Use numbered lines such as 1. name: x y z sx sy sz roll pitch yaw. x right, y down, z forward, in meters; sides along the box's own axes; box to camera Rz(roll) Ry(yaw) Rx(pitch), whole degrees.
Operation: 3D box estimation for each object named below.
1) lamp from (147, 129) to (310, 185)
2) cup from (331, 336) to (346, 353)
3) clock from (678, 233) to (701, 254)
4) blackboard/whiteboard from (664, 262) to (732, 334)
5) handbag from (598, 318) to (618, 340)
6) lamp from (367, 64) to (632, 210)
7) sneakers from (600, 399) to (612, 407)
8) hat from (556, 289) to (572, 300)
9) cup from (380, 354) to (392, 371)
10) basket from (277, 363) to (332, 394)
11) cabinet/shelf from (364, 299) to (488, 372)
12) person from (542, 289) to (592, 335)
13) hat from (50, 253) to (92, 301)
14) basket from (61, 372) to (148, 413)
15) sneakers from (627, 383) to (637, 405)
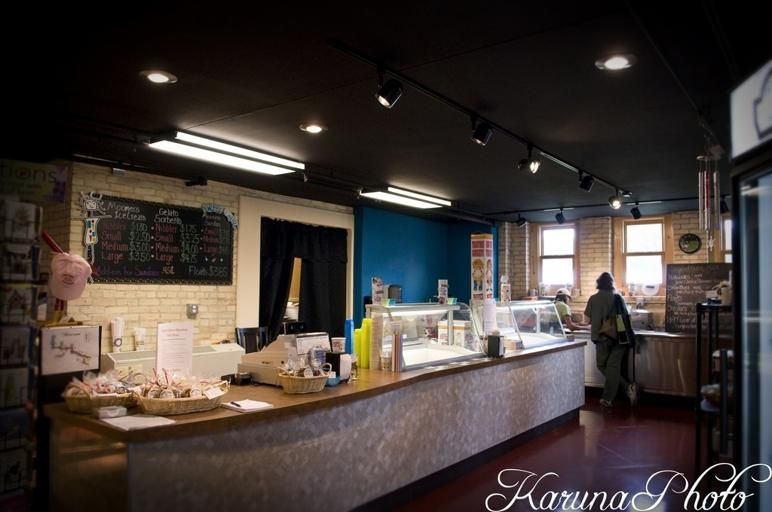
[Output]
1. lamp: -1.809 -1.146 6.117 1.580 0.274 0.665 -1 1 -43
2. cup: -0.428 0.810 4.827 0.124 0.115 0.125 1 -6 0
3. clock: 5.441 -0.217 9.651 0.364 0.366 0.134 0 1 28
4. blackboard/whiteboard: 4.380 0.614 7.563 1.147 1.330 0.139 -1 -3 30
5. handbag: 3.315 1.090 8.021 0.112 0.280 0.279 9 -11 -44
6. lamp: 1.486 -1.209 5.989 0.408 0.725 4.517 1 1 44
7. sneakers: 3.252 2.184 7.996 0.176 0.093 0.159 0 1 34
8. hat: 3.263 0.695 9.916 0.238 0.180 0.342 4 -4 36
9. cup: 0.012 1.013 5.055 0.117 0.126 0.115 0 -4 0
10. basket: -0.651 1.006 4.396 0.430 0.198 0.254 0 1 -12
11. cabinet/shelf: 0.673 0.914 6.415 0.595 0.668 1.077 -7 -6 -18
12. person: 3.087 0.945 9.128 0.560 0.812 0.441 -3 12 28
13. hat: -2.430 0.163 4.152 0.278 0.355 0.183 -1 1 -23
14. basket: -2.045 0.996 3.936 0.416 0.186 0.540 16 5 26
15. sneakers: 3.681 2.047 8.041 0.149 0.330 0.122 -8 2 41
